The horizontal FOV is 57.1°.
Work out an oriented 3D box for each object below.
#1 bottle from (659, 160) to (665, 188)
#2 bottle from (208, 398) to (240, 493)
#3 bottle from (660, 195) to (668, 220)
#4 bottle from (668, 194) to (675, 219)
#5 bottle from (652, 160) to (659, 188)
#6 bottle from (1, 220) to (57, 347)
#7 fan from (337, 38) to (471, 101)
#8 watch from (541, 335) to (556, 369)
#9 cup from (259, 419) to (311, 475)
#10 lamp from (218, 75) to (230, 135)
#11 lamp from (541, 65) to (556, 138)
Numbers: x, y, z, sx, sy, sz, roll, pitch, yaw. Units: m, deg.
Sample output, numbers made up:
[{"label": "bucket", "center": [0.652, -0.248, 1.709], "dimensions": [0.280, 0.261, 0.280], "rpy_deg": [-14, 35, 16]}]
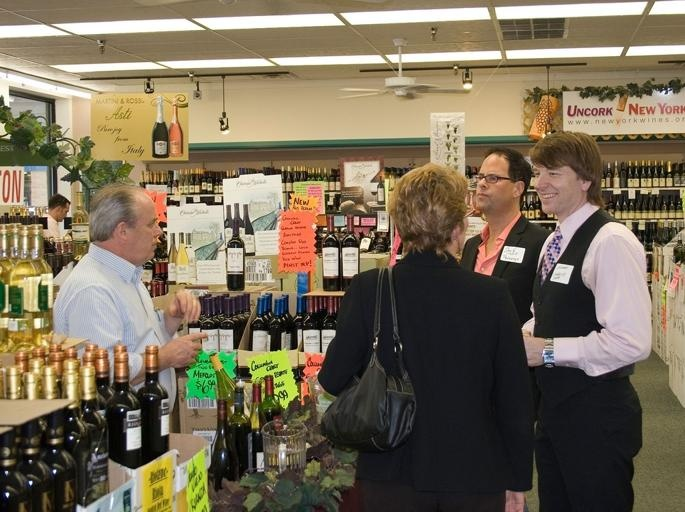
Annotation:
[{"label": "bottle", "center": [5.153, -1.327, 10.195], "dimensions": [0.088, 0.432, 0.372], "rpy_deg": [1, 2, 26]}, {"label": "bottle", "center": [-0.484, 0.744, 2.562], "dimensions": [0.113, 0.375, 0.273], "rpy_deg": [0, 2, -11]}, {"label": "bottle", "center": [5.240, -0.803, 10.298], "dimensions": [0.125, 0.403, 0.581], "rpy_deg": [1, 2, 27]}, {"label": "bottle", "center": [5.318, -0.797, 10.220], "dimensions": [0.107, 0.395, 0.428], "rpy_deg": [1, 2, 27]}, {"label": "bottle", "center": [5.013, -1.326, 10.139], "dimensions": [0.099, 0.435, 0.300], "rpy_deg": [1, 2, 25]}, {"label": "bottle", "center": [-1.085, 0.106, 2.186], "dimensions": [0.144, 0.428, 0.169], "rpy_deg": [-1, 2, -28]}, {"label": "fan", "center": [0.903, -2.042, 7.617], "dimensions": [1.312, 0.633, 1.345], "rpy_deg": [8, 13, 44]}, {"label": "watch", "center": [0.861, 0.409, 2.638], "dimensions": [0.064, 0.108, 0.097], "rpy_deg": [-1, -3, 16]}, {"label": "cup", "center": [-0.207, 0.681, 2.228], "dimensions": [0.118, 0.192, 0.192], "rpy_deg": [1, 3, 15]}, {"label": "lamp", "center": [-2.002, -2.533, 10.608], "dimensions": [0.194, 0.923, 0.735], "rpy_deg": [0, 2, -10]}, {"label": "lamp", "center": [3.218, -2.398, 9.740], "dimensions": [0.176, 1.022, 0.692], "rpy_deg": [1, 2, 18]}]
